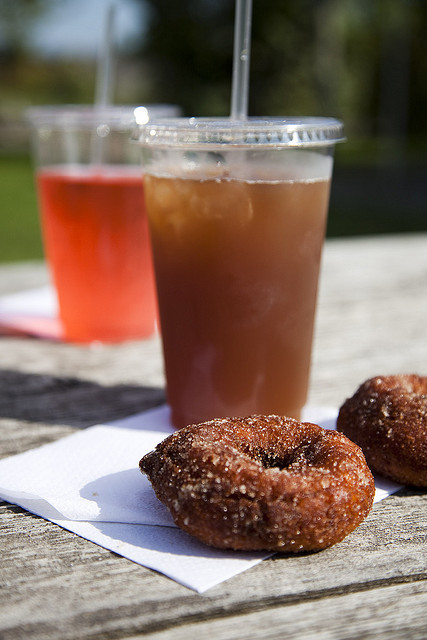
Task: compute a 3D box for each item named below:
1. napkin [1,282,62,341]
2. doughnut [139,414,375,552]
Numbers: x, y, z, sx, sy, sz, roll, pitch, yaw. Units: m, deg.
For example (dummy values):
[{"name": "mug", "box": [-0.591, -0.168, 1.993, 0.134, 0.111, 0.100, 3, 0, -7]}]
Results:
[{"name": "napkin", "box": [-0.357, -0.013, 1.282, 0.102, 0.120, 0.106, 5, 16, 24]}, {"name": "doughnut", "box": [0.050, 0.113, 0.544, 0.137, 0.046, 0.130, -5, 15, -33]}]
